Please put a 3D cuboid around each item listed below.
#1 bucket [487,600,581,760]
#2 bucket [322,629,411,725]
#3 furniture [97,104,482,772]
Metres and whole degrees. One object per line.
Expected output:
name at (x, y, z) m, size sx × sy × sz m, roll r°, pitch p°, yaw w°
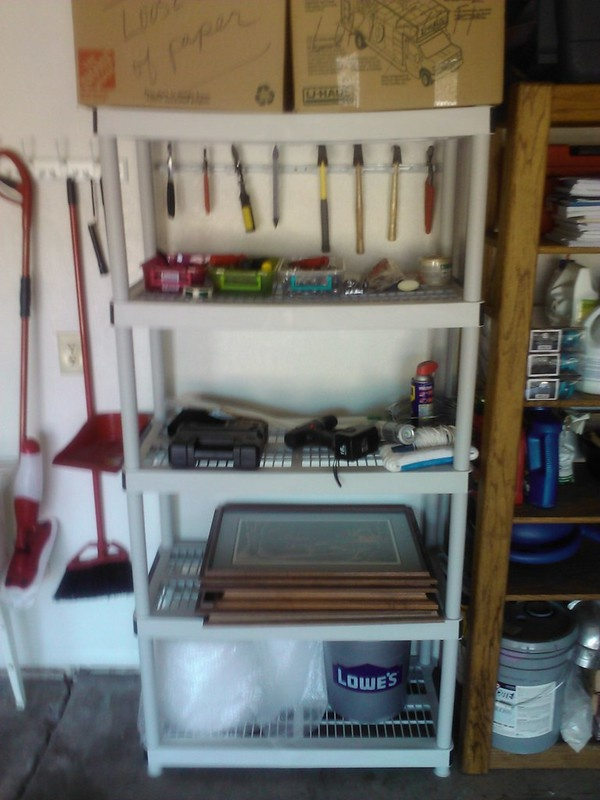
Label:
bucket at (0.545, 0.688, 1.571) m, size 0.194 × 0.300 × 0.212 m, roll 3°, pitch 7°, yaw 0°
bucket at (0.165, 0.669, 1.601) m, size 0.230 × 0.231 × 0.257 m, roll 16°, pitch -18°, yaw 5°
furniture at (0.055, 0.413, 1.624) m, size 0.799 × 1.457 × 0.509 m, roll 11°, pitch 31°, yaw 13°
